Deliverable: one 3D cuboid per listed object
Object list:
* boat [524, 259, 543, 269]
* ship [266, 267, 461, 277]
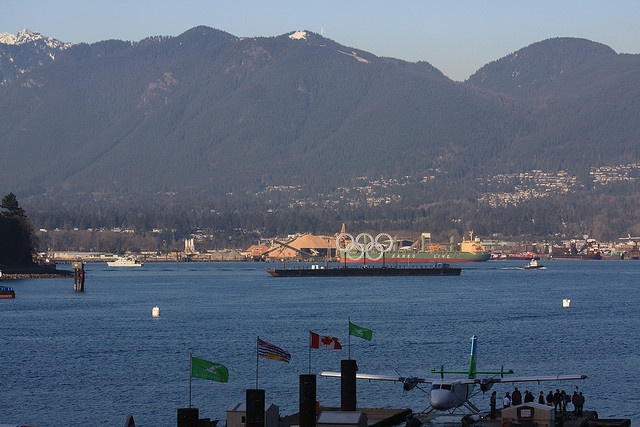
[{"bbox_3d":[116.668,28.589,929.326,6.280,4.628,10.456,-1,-5,-1],"label":"boat"},{"bbox_3d":[24.464,31.457,886.252,93.974,5.713,8.851,-1,-7,-1],"label":"ship"}]
